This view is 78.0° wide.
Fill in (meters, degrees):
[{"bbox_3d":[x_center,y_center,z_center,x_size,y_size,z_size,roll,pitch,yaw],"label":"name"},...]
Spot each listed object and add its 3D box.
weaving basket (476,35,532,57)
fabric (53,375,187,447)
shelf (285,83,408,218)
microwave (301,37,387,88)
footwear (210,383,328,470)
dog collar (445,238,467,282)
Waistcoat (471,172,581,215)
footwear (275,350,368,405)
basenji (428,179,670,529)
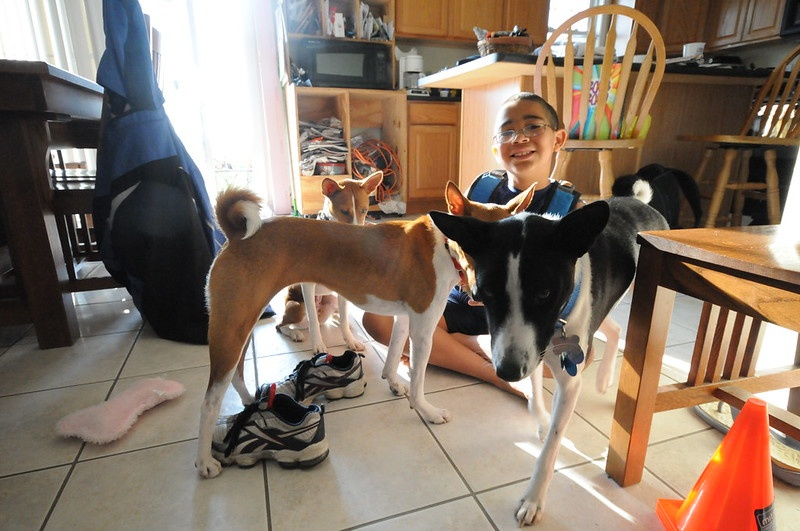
[{"bbox_3d":[0.615,-1.290,2.925,0.270,0.095,0.202,-2,18,-3],"label":"weaving basket"},{"bbox_3d":[-1.218,0.616,2.186,0.223,0.051,0.348,15,22,27],"label":"fabric"},{"bbox_3d":[-0.604,-1.236,5.337,1.292,1.241,0.713,-9,20,-28],"label":"shelf"},{"bbox_3d":[-0.507,-2.061,5.044,0.879,0.462,0.228,-4,21,-9],"label":"microwave"},{"bbox_3d":[-0.502,0.669,2.064,0.500,0.255,0.240,4,8,-1],"label":"footwear"},{"bbox_3d":[0.212,-0.028,1.915,0.090,0.160,0.037,-9,-6,-23],"label":"dog collar"},{"bbox_3d":[0.600,-0.351,2.467,0.489,0.206,0.294,14,27,23],"label":"Waistcoat"},{"bbox_3d":[-0.341,0.515,2.302,0.474,0.197,0.177,-1,12,-10],"label":"footwear"},{"bbox_3d":[0.571,0.276,1.969,0.434,1.157,0.861,18,28,41],"label":"basenji"}]
